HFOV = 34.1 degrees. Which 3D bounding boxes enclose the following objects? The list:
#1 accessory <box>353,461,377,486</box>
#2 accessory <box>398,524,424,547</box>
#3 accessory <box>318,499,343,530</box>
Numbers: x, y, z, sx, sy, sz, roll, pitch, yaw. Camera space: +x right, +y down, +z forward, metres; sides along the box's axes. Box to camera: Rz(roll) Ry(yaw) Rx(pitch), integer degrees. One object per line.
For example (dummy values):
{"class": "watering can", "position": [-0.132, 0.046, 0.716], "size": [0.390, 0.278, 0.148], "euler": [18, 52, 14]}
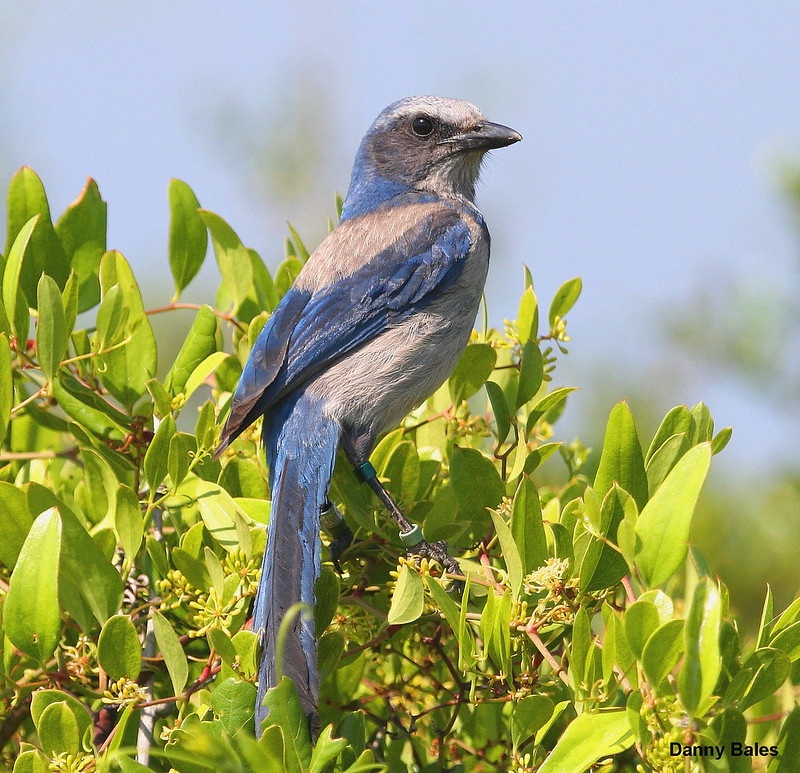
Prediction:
{"class": "accessory", "position": [-0.106, 0.272, 4.118], "size": [0.053, 0.049, 0.061], "euler": [-21, -22, -20]}
{"class": "accessory", "position": [0.030, 0.422, 3.757], "size": [0.045, 0.046, 0.054], "euler": [-6, 3, 5]}
{"class": "accessory", "position": [-0.222, 0.405, 4.159], "size": [0.058, 0.088, 0.088], "euler": [-24, -66, 10]}
